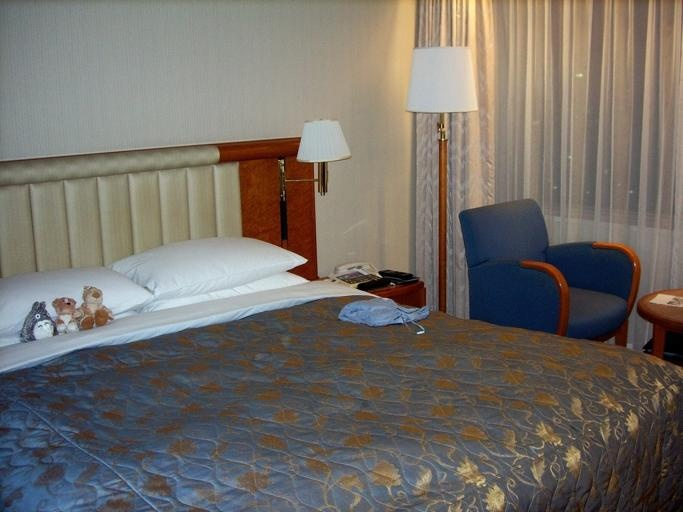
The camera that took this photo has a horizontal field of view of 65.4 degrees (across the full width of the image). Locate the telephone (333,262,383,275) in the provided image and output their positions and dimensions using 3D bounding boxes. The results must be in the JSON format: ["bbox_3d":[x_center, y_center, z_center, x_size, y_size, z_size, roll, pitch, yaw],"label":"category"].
[{"bbox_3d":[0.121,0.103,4.419,0.216,0.067,0.158,-7,10,-42],"label":"telephone"}]

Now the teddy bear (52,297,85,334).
[{"bbox_3d":[-1.410,0.312,2.728,0.151,0.207,0.109,-7,2,-44],"label":"teddy bear"}]

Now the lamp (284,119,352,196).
[{"bbox_3d":[-0.193,-0.714,3.923,0.540,0.535,0.404,-7,15,-19],"label":"lamp"}]

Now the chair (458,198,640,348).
[{"bbox_3d":[1.503,0.266,3.852,1.162,1.182,1.211,-1,14,16],"label":"chair"}]
